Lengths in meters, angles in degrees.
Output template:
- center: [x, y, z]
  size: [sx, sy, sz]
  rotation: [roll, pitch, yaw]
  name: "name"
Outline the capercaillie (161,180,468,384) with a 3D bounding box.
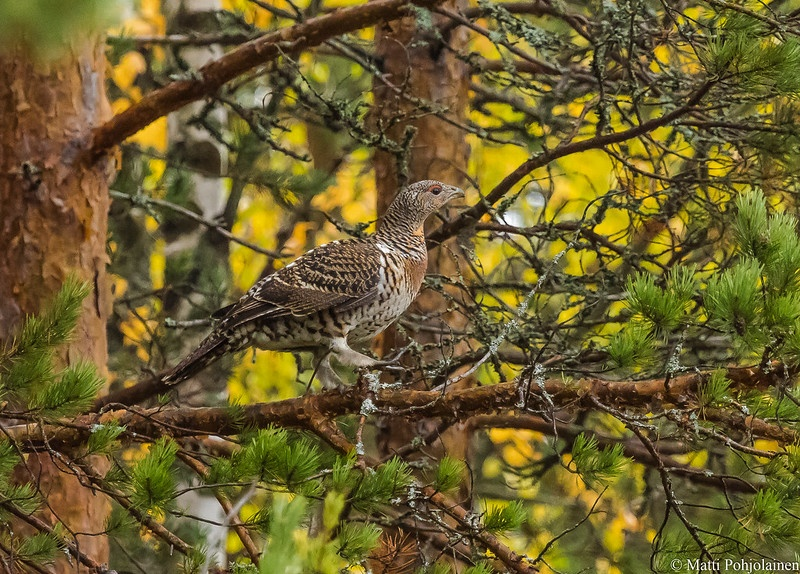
- center: [-0.630, 0.015, 12.023]
  size: [2.198, 1.434, 0.748]
  rotation: [-5, -6, -8]
  name: "capercaillie"
